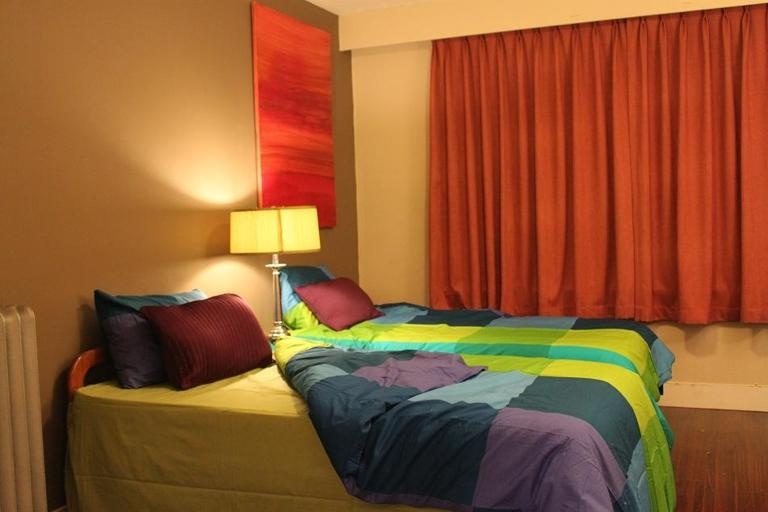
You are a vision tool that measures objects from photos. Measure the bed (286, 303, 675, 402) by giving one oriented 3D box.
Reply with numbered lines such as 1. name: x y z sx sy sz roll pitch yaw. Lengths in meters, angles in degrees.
1. bed: 0.681 0.524 3.860 1.795 0.460 1.060 -1 3 19

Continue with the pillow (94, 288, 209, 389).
1. pillow: -1.417 0.459 3.334 0.528 0.497 0.155 -4 -21 -30
